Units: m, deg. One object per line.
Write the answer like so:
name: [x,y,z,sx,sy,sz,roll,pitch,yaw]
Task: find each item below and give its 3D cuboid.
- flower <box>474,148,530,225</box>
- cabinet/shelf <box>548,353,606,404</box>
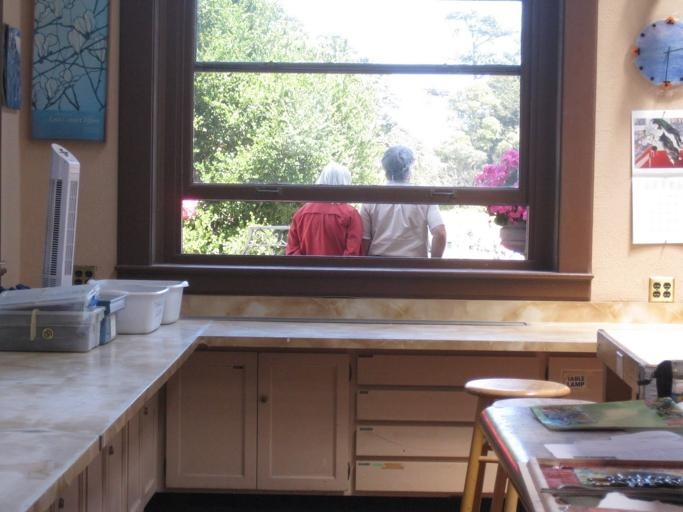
flower: [0.828,-0.345,3.887,0.317,0.357,0.244,-11,-3,20]
cabinet/shelf: [1.036,0.513,3.368,0.278,0.261,0.187,0,-3,-3]
